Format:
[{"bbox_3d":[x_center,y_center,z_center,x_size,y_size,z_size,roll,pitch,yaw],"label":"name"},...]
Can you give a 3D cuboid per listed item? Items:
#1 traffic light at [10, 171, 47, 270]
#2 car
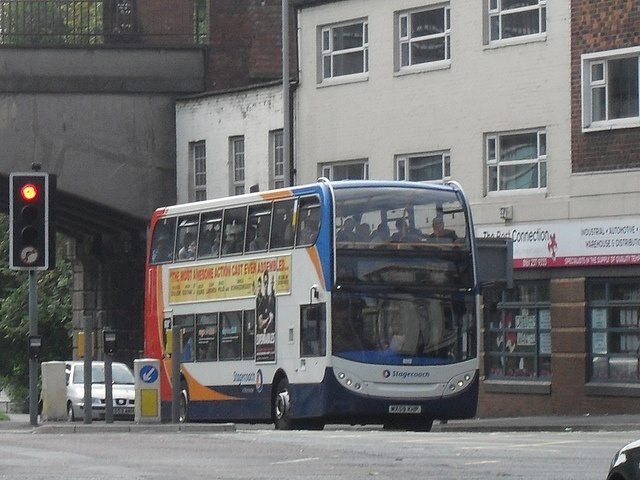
[{"bbox_3d":[-6.656,-0.382,41.560,0.869,2.204,0.669,-1,8,-8],"label":"traffic light"},{"bbox_3d":[-5.983,3.961,49.227,1.825,1.730,2.443,-2,8,-16],"label":"car"}]
